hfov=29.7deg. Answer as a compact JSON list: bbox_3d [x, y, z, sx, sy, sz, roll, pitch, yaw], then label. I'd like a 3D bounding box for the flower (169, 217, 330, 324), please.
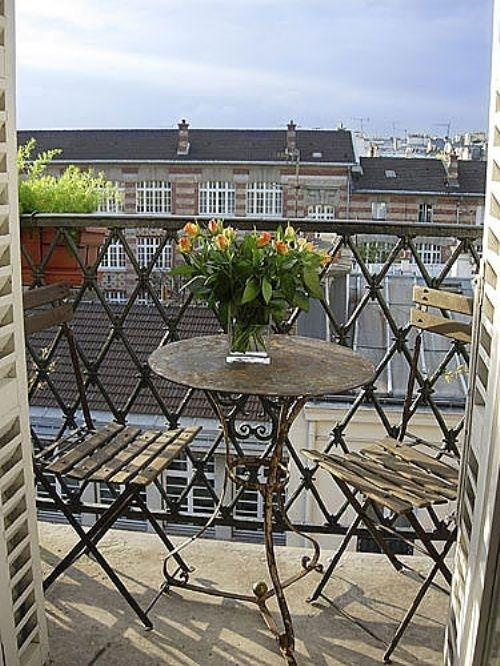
[{"bbox_3d":[0.004,-0.179,3.012,0.487,0.379,0.472,8,8,40],"label":"flower"}]

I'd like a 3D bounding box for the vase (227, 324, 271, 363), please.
[{"bbox_3d":[-0.008,0.049,2.986,0.123,0.127,0.106,2,9,5],"label":"vase"}]

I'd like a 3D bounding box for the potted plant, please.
[{"bbox_3d":[-0.903,-0.585,4.486,0.444,0.626,1.906,7,12,-10],"label":"potted plant"}]
